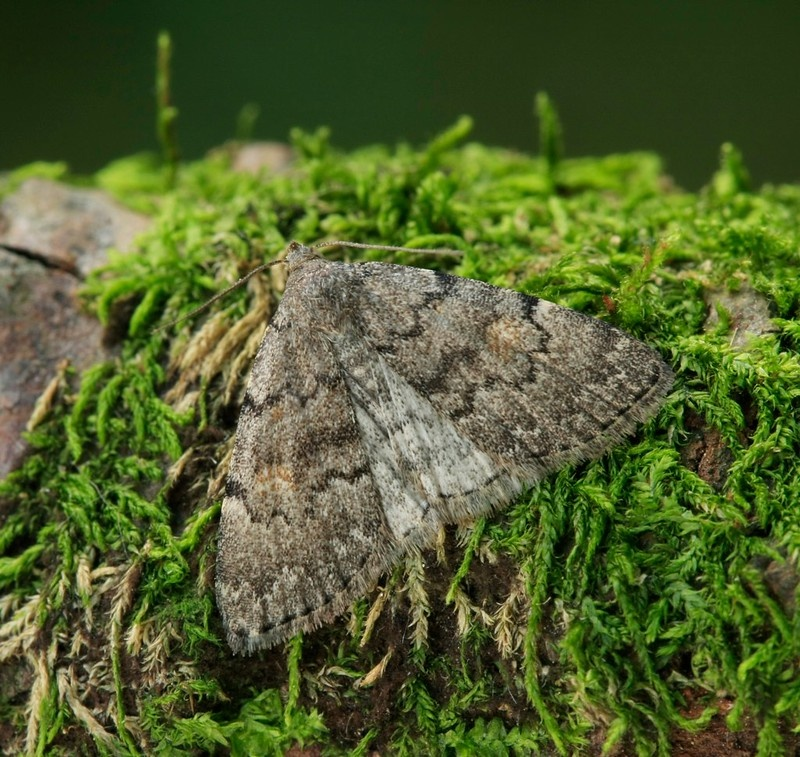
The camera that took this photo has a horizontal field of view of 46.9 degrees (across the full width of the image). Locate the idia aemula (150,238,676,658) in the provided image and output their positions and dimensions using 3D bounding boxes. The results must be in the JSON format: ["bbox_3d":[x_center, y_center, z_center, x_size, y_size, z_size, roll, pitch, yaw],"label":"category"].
[{"bbox_3d":[-0.109,0.011,3.796,2.030,0.137,1.421,-36,84,-12],"label":"idia aemula"}]
